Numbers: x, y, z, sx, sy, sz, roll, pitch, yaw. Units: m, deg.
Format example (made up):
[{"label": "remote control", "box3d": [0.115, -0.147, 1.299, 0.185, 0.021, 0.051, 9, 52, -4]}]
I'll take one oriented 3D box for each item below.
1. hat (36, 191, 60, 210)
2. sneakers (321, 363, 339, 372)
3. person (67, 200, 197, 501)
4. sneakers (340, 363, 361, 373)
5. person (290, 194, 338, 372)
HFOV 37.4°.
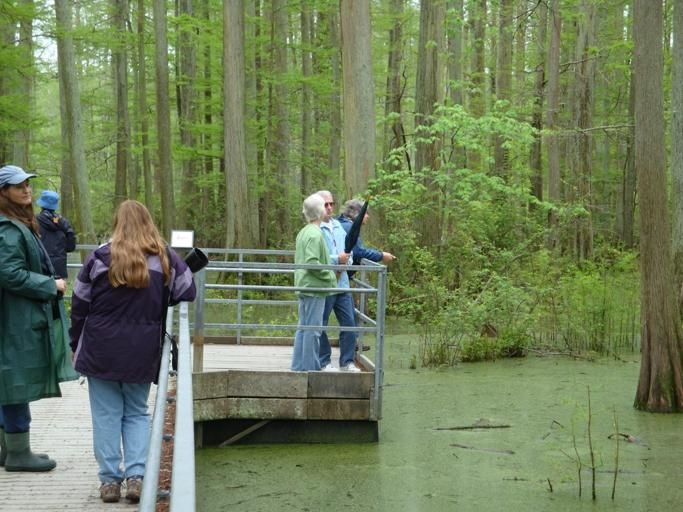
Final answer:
[{"label": "hat", "box3d": [-4.440, -0.905, 15.421, 0.270, 0.169, 0.303, 18, 34, -26]}, {"label": "sneakers", "box3d": [-0.156, 1.655, 14.990, 0.099, 0.090, 0.215, 3, -9, -24]}, {"label": "person", "box3d": [-2.492, 1.082, 12.019, 1.052, 3.439, 1.159, 15, 18, 41]}, {"label": "sneakers", "box3d": [0.138, 1.659, 14.938, 0.298, 0.128, 0.113, -5, -5, 32]}, {"label": "person", "box3d": [-0.378, 0.441, 14.450, 0.597, 2.600, 0.901, 1, 14, -3]}]
